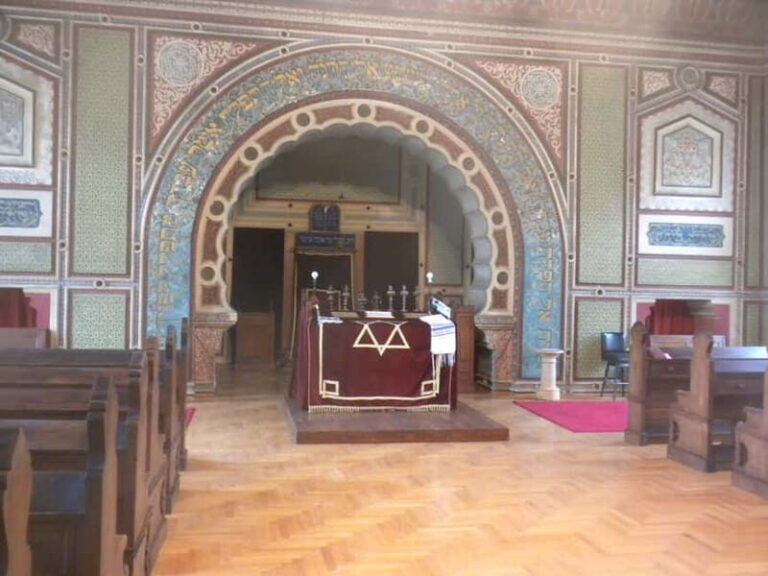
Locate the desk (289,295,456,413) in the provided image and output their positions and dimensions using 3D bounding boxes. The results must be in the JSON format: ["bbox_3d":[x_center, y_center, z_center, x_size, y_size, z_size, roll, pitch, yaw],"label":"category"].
[{"bbox_3d":[-0.172,0.677,9.662,1.422,0.911,1.456,1,2,-3],"label":"desk"}]
